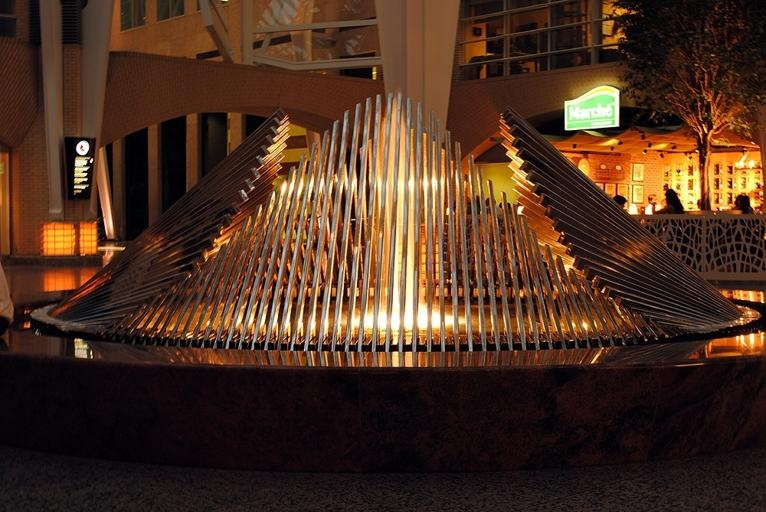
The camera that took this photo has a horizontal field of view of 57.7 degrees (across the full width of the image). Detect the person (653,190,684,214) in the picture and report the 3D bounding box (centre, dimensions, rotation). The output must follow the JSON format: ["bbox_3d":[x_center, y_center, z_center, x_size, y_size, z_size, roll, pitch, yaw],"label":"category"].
[{"bbox_3d":[6.269,-1.182,14.963,0.290,0.496,0.741,6,11,44],"label":"person"}]

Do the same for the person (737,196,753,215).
[{"bbox_3d":[8.390,-1.214,15.954,0.297,0.406,1.986,2,9,26],"label":"person"}]
